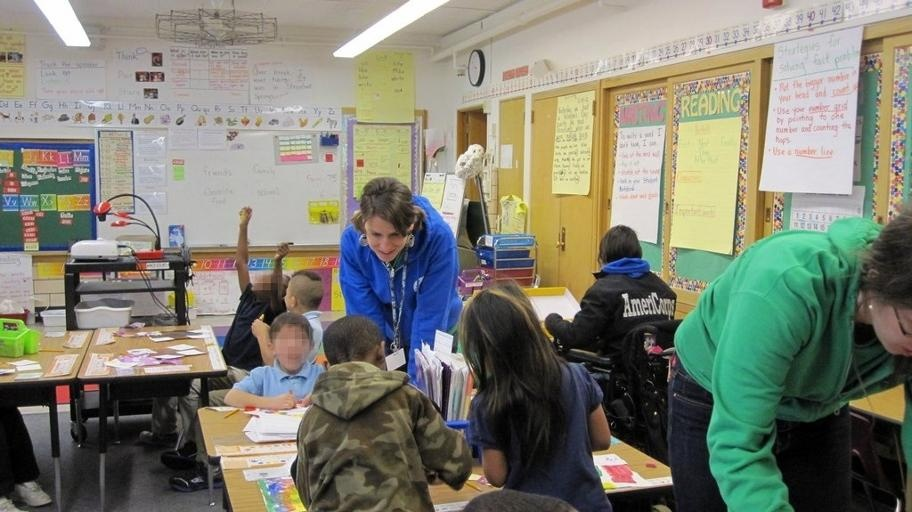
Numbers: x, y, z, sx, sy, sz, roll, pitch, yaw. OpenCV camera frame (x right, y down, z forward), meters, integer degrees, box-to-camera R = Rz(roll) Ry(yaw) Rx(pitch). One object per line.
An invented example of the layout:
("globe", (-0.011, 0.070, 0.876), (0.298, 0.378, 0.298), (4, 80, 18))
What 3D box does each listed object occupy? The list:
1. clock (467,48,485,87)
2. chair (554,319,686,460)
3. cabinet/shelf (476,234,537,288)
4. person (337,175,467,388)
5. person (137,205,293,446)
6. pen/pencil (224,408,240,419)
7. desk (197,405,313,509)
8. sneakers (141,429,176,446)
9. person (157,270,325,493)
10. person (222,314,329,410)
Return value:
("clock", (0.298, -2.547, 8.639), (0.102, 0.458, 0.440), (-6, 26, -27))
("chair", (1.211, 0.982, 4.803), (1.420, 0.953, 1.122), (-2, -3, 20))
("cabinet/shelf", (0.547, 0.015, 7.226), (0.708, 0.651, 0.605), (-2, 8, -16))
("person", (-0.291, 0.358, 4.147), (0.848, 1.435, 0.903), (-5, 6, -4))
("person", (-1.862, 0.582, 5.190), (0.886, 1.855, 1.193), (9, 9, 42))
("pen/pencil", (-1.387, 0.976, 4.000), (0.023, 0.020, 0.110), (1, 15, 27))
("desk", (-1.278, 1.150, 3.809), (0.363, 0.177, 0.797), (2, 18, -28))
("sneakers", (-2.551, 1.565, 5.508), (0.335, 0.119, 0.120), (7, 1, 8))
("person", (-1.600, 0.833, 4.713), (1.104, 1.462, 0.638), (3, 13, -37))
("person", (-1.213, 0.724, 4.354), (0.697, 0.771, 0.465), (5, -18, -5))
